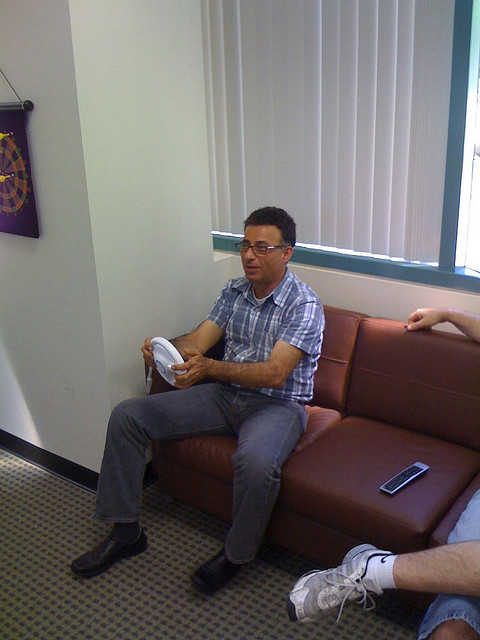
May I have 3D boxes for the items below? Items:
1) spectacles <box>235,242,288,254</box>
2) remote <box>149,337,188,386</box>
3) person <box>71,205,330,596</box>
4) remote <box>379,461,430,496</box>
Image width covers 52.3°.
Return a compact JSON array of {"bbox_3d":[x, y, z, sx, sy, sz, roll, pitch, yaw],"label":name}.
[{"bbox_3d":[0.082,-0.248,1.677,0.163,0.037,0.065,0,11,6],"label":"spectacles"},{"bbox_3d":[-0.207,0.127,1.616,0.041,0.148,0.143,-26,22,-24],"label":"remote"},{"bbox_3d":[-0.061,0.217,1.670,0.614,1.229,0.805,9,5,37],"label":"person"},{"bbox_3d":[0.471,0.445,1.390,0.060,0.021,0.190,16,30,41],"label":"remote"}]
